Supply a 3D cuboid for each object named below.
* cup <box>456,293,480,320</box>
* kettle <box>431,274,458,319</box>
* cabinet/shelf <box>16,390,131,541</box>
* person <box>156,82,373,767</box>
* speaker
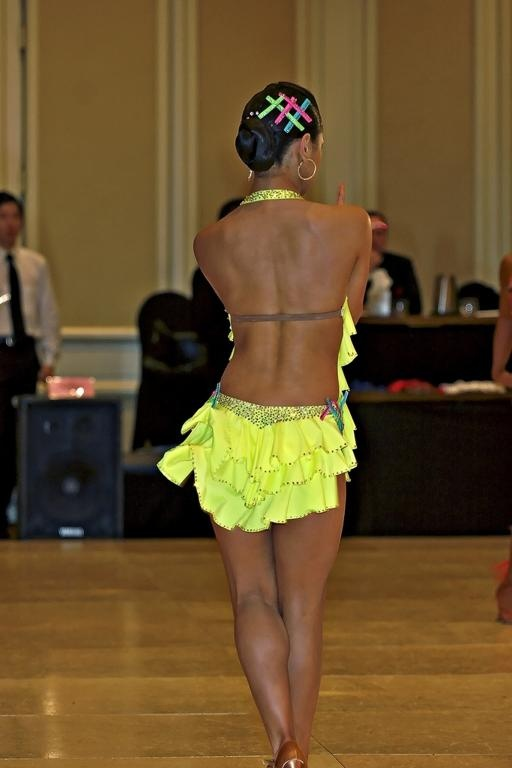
[{"bbox_3d":[1.192,-0.428,5.060,0.106,0.133,0.057,0,3,9],"label":"cup"},{"bbox_3d":[1.076,-0.495,5.130,0.129,0.251,0.331,0,-1,11],"label":"kettle"},{"bbox_3d":[-0.867,0.415,4.451,0.614,0.677,0.593,0,1,-20],"label":"cabinet/shelf"},{"bbox_3d":[0.047,0.077,1.482,0.273,1.158,0.374,2,-2,-39],"label":"person"},{"bbox_3d":[-0.857,0.416,4.455,0.572,0.682,0.550,0,1,-9],"label":"speaker"}]
